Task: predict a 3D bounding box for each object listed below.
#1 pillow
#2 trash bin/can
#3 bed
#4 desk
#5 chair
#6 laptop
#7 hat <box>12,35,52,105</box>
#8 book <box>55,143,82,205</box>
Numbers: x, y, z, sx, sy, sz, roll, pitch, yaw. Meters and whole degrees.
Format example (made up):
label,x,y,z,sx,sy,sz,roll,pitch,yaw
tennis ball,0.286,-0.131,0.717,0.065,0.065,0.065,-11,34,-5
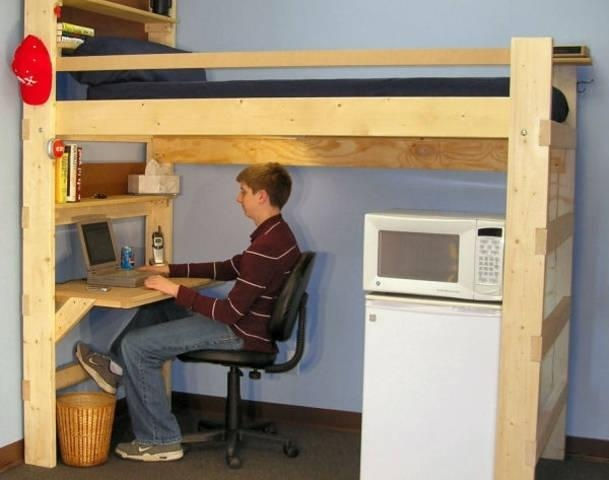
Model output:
label,x,y,z,sx,sy,sz,roll,pitch,yaw
pillow,-0.927,-1.007,3.809,0.636,0.212,0.384,-7,44,-29
trash bin/can,-1.218,1.082,3.771,0.293,0.320,0.285,0,-4,-2
bed,0.020,-0.013,3.583,2.266,2.038,1.343,4,9,23
desk,-1.032,0.693,3.973,0.880,0.919,0.924,1,3,16
chair,-0.363,0.627,3.898,0.688,1.202,0.642,3,0,6
laptop,-1.103,0.061,3.945,0.335,0.401,0.430,1,1,4
hat,-1.396,-0.882,3.512,0.209,0.337,0.103,7,19,25
book,-1.301,-0.354,3.654,0.104,0.297,0.301,1,5,-8
